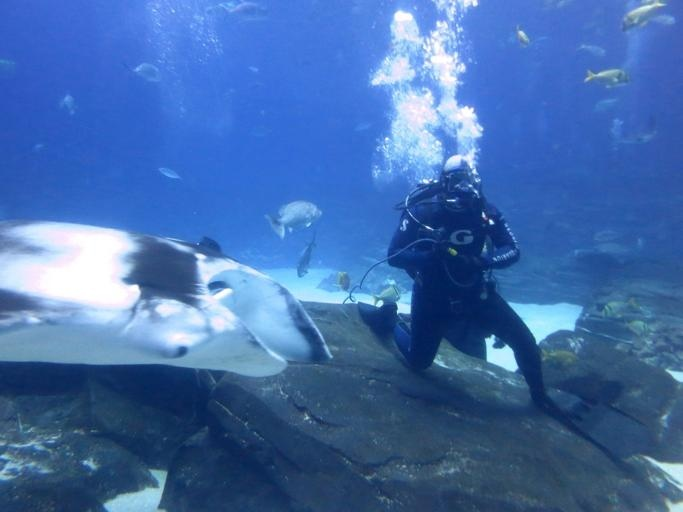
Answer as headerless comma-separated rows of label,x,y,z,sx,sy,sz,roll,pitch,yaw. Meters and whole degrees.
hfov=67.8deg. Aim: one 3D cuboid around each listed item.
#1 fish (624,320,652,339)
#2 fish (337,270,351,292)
fish,8.509,2.066,14.540,0.462,0.117,0.470,4,34,8
fish,0.086,0.814,16.467,0.362,0.632,0.709,2,4,-2
